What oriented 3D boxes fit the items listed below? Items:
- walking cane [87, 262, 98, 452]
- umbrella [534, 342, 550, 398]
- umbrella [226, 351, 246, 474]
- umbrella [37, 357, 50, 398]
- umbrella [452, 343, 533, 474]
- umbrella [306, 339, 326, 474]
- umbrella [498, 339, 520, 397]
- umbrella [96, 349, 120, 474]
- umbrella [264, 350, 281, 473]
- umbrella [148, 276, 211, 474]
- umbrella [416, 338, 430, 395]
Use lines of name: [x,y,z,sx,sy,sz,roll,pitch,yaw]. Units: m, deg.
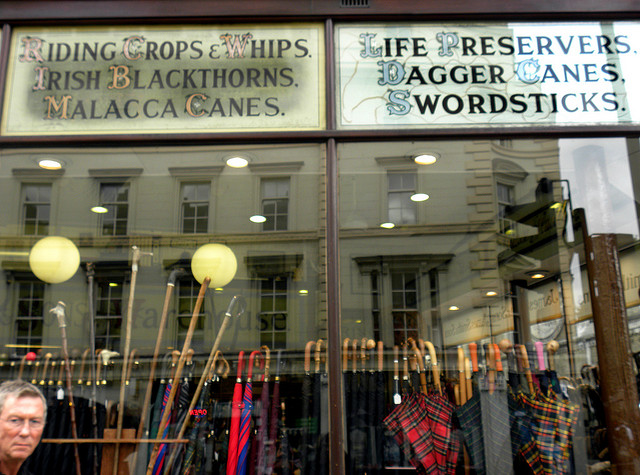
walking cane: [-1.674,0.985,5.110,0.093,0.093,2.426,25,-51,13]
umbrella: [1.717,1.017,5.184,0.067,0.449,0.071,-19,-21,27]
umbrella: [-0.628,1.336,5.064,0.129,0.697,0.145,1,-9,-22]
umbrella: [-2.102,1.068,5.140,0.054,0.263,0.039,6,-22,-10]
umbrella: [1.266,1.309,5.014,0.362,0.740,0.341,1,-4,3]
umbrella: [0.023,1.239,5.001,0.132,0.727,0.223,1,-8,1]
umbrella: [1.458,0.998,5.213,0.114,0.450,0.101,3,-14,-1]
umbrella: [-1.626,1.281,5.104,0.112,0.703,0.145,-5,-2,15]
umbrella: [-0.348,1.276,5.005,0.127,0.853,0.066,-2,-18,-1]
umbrella: [-1.071,1.105,5.140,0.155,1.413,0.058,7,-27,14]
umbrella: [0.773,0.980,5.144,0.064,0.398,0.059,0,-11,-27]
